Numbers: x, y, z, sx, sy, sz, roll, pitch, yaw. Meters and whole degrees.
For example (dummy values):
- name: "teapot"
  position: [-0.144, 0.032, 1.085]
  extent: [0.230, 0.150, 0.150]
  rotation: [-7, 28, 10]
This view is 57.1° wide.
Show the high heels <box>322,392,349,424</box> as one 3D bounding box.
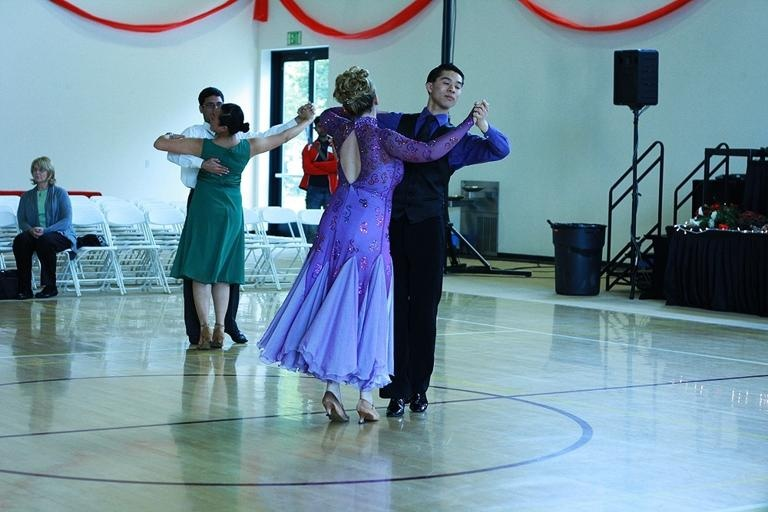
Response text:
- name: "high heels"
  position: [-0.259, 0.850, 3.950]
  extent: [0.082, 0.141, 0.251]
  rotation: [-7, -34, 21]

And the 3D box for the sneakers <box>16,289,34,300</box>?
- name: "sneakers"
  position: [-4.052, 0.436, 7.939]
  extent: [0.055, 0.067, 0.170]
  rotation: [0, -10, 7]

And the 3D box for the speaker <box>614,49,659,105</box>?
- name: "speaker"
  position: [3.277, -2.283, 9.130]
  extent: [0.541, 0.740, 0.249]
  rotation: [2, 5, 16]

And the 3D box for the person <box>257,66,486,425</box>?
- name: "person"
  position: [-0.184, -0.155, 3.899]
  extent: [0.976, 1.738, 0.411]
  rotation: [0, 5, -11]

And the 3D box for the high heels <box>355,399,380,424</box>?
- name: "high heels"
  position: [-0.089, 0.866, 3.958]
  extent: [0.077, 0.089, 0.161]
  rotation: [3, -1, 23]

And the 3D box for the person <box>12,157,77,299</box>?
- name: "person"
  position: [-3.975, -0.352, 8.267]
  extent: [0.665, 1.590, 0.723]
  rotation: [-2, 6, -28]

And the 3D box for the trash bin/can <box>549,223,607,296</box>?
- name: "trash bin/can"
  position: [2.463, 0.036, 9.416]
  extent: [0.832, 1.094, 0.852]
  rotation: [1, 3, 14]

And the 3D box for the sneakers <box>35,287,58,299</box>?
- name: "sneakers"
  position: [-3.870, 0.426, 8.156]
  extent: [0.100, 0.114, 0.280]
  rotation: [5, -2, 33]
